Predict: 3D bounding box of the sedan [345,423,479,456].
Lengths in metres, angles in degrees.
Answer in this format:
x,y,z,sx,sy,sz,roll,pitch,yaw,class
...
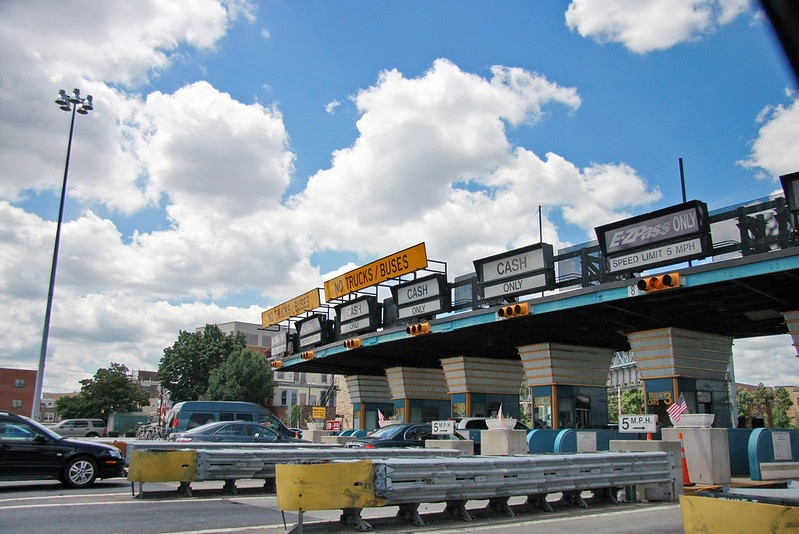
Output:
x,y,z,sx,sy,sz,roll,pitch,yaw,class
0.020,6.804,24.307,3.787,1.103,1.565,4,-14,-25,sedan

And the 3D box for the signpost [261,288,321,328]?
x,y,z,sx,sy,sz,roll,pitch,yaw,class
-5.978,2.659,37.863,1.336,0.633,3.912,12,-24,-35,signpost

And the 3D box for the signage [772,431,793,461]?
x,y,z,sx,sy,sz,roll,pitch,yaw,class
12.554,5.934,21.049,1.003,1.107,0.116,9,-21,-28,signage

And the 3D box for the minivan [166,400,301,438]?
x,y,z,sx,sy,sz,roll,pitch,yaw,class
-7.032,6.057,26.305,4.087,1.729,2.272,2,-12,-19,minivan

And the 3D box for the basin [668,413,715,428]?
x,y,z,sx,sy,sz,roll,pitch,yaw,class
9.454,4.946,20.519,0.967,0.327,0.631,-7,-12,28,basin

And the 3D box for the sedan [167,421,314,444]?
x,y,z,sx,sy,sz,roll,pitch,yaw,class
-5.929,5.962,23.081,3.807,0.814,1.083,9,-21,-21,sedan
